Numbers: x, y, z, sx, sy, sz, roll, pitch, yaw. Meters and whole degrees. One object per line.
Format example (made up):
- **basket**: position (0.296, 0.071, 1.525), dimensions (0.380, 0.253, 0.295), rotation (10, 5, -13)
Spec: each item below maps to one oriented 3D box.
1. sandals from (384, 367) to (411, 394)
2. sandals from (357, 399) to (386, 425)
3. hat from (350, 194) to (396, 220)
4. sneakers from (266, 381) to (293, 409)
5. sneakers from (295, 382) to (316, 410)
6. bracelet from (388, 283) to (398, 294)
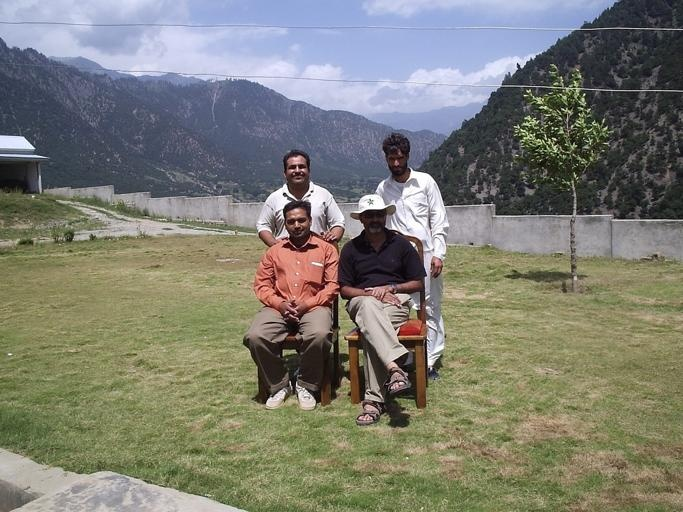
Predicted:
- **sandals**: position (0.522, 1.181, 5.027), dimensions (0.206, 0.209, 0.448), rotation (-4, -13, 4)
- **sandals**: position (0.283, 1.472, 5.148), dimensions (0.205, 0.209, 0.447), rotation (3, 8, 17)
- **hat**: position (0.322, -0.523, 5.580), dimensions (0.331, 0.143, 0.379), rotation (-5, -5, 4)
- **sneakers**: position (-0.658, 1.443, 5.474), dimensions (0.122, 0.137, 0.345), rotation (5, 2, 13)
- **sneakers**: position (-0.364, 1.421, 5.410), dimensions (0.219, 0.200, 0.228), rotation (1, 8, 1)
- **bracelet**: position (0.533, 0.334, 5.518), dimensions (0.058, 0.093, 0.082), rotation (2, 0, -17)
